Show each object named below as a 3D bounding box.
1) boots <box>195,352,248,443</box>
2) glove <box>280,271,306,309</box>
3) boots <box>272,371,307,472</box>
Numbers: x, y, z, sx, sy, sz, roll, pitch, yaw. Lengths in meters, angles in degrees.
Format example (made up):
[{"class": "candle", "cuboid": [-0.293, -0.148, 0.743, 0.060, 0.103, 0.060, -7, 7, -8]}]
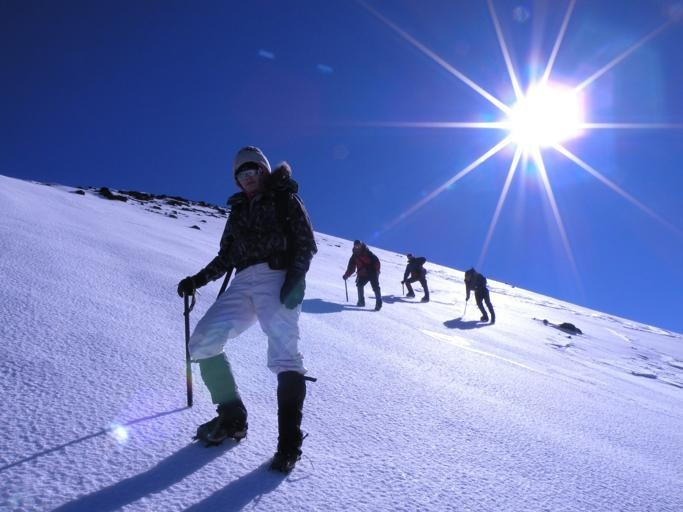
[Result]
[{"class": "boots", "cuboid": [-0.961, 1.148, 4.182, 0.505, 0.714, 0.219, 12, -3, -9]}, {"class": "glove", "cuboid": [-0.425, 0.285, 4.389, 0.169, 0.317, 0.081, 12, -10, -20]}, {"class": "boots", "cuboid": [-0.413, 1.277, 4.076, 0.307, 0.718, 0.246, 12, -3, -5]}]
